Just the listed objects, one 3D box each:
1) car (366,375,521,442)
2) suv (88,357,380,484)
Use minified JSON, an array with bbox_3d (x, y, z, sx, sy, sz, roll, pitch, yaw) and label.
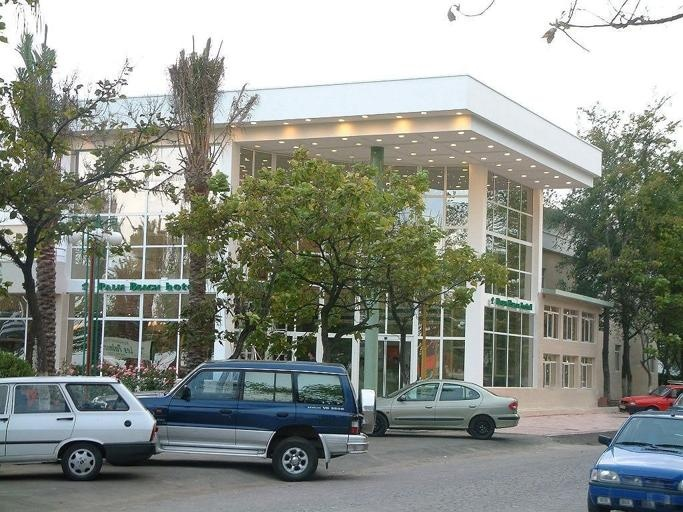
[{"bbox_3d":[3.259,5.089,26.170,4.712,1.723,1.998,3,-6,0],"label":"car"},{"bbox_3d":[-1.723,3.471,17.012,4.521,1.844,2.270,3,-7,4],"label":"suv"}]
